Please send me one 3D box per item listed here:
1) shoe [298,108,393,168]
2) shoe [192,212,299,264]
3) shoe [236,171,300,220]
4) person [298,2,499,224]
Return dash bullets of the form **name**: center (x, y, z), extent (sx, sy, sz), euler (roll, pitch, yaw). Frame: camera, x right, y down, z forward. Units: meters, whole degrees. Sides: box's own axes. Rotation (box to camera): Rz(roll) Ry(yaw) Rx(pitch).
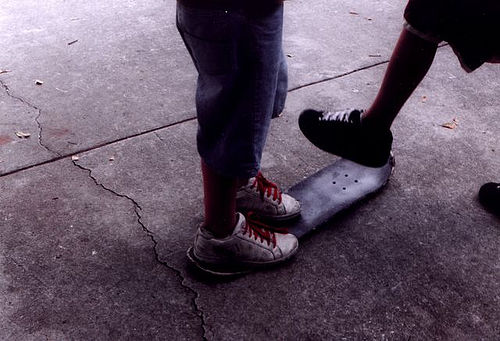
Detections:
- **shoe**: center (0.577, -0.264, 2.482), extent (0.648, 0.261, 0.221), euler (30, 41, 34)
- **shoe**: center (0.002, 0.372, 2.251), extent (0.640, 0.254, 0.243), euler (-1, 34, -8)
- **shoe**: center (0.087, 0.148, 2.358), extent (0.522, 0.235, 0.174), euler (0, 39, 2)
- **person**: center (0.790, -0.489, 2.262), extent (0.767, 0.923, 0.556), euler (-26, 61, -17)
